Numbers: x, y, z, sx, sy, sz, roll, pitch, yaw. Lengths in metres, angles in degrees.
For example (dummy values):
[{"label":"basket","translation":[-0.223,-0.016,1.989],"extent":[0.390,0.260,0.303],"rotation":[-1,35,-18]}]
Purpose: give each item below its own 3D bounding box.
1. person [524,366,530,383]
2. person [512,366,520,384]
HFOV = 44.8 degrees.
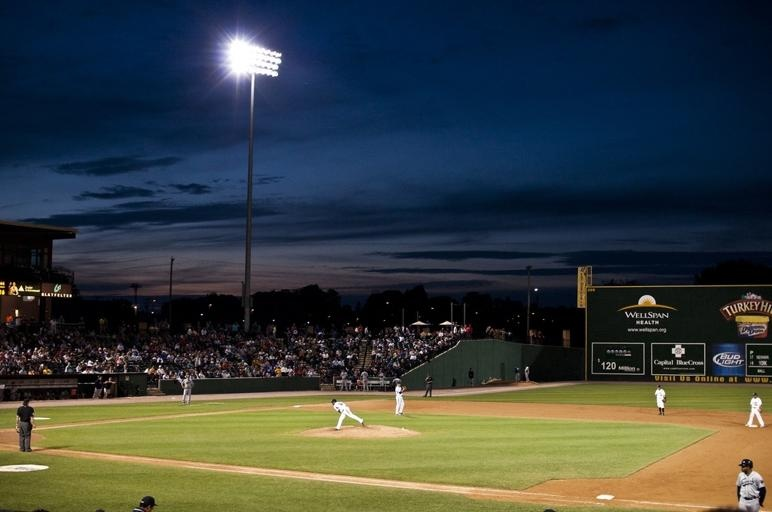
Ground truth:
[{"label":"person","translation":[12.975,10.782,86.057],"extent":[0.502,1.271,1.475],"rotation":[-1,-9,7]},{"label":"person","translation":[11.923,10.738,85.364],"extent":[0.633,1.326,1.895],"rotation":[-1,-9,10]}]
